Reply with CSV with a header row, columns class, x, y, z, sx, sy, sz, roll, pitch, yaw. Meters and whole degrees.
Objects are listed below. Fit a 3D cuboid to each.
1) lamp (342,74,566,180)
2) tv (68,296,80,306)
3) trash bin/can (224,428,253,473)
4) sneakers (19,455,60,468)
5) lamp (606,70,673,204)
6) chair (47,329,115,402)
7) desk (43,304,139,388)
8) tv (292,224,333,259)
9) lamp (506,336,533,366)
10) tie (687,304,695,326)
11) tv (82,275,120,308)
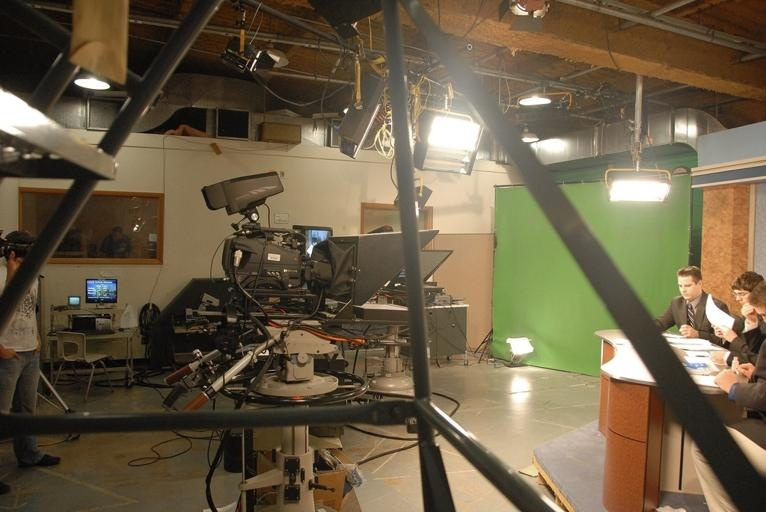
class,x,y,z,sx,sy,sz,roll,pitch,yaw
lamp,0.448,-1.530,7.031,2.026,1.021,1.092,4,6,-26
tv,-3.965,0.596,8.192,0.108,0.099,0.056,1,-8,-3
trash bin/can,-1.147,1.577,5.065,0.226,0.254,0.244,-3,-5,13
sneakers,-3.022,1.820,5.661,0.336,0.130,0.119,1,-3,-17
lamp,2.889,-1.371,7.236,0.689,1.540,0.339,2,-17,15
chair,-3.649,1.356,7.650,0.563,0.887,0.621,6,14,10
desk,-3.590,1.121,7.911,1.057,0.864,1.050,1,2,-35
tv,-0.735,-0.154,6.555,0.569,0.405,0.059,3,-6,-29
lamp,1.999,1.401,9.201,0.365,0.394,0.236,0,-4,5
tie,3.277,0.629,6.739,0.045,0.198,0.052,0,8,10
tv,-3.714,0.488,8.355,0.417,0.403,0.134,3,-13,-23
